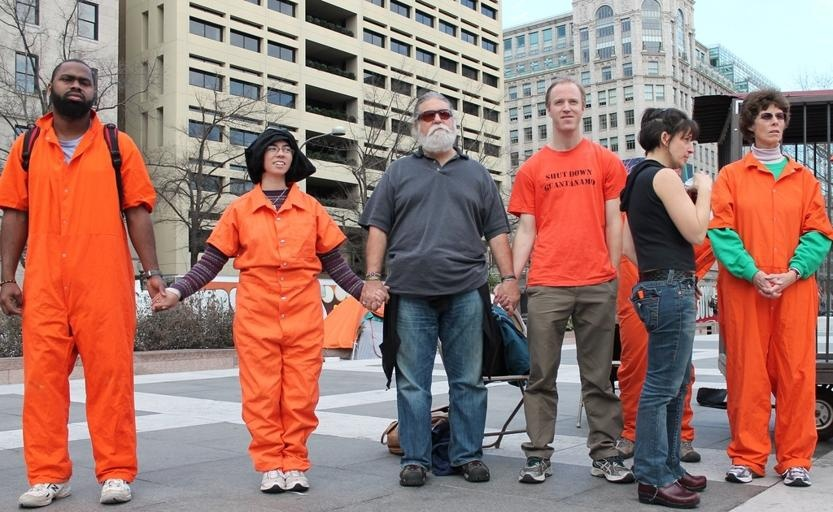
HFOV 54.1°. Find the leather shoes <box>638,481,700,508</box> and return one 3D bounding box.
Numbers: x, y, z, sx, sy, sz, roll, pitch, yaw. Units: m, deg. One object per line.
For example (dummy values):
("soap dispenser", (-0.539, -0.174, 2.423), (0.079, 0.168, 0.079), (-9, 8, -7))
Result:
("leather shoes", (1.952, 1.857, 6.334), (0.431, 0.151, 0.184), (-3, -1, 21))

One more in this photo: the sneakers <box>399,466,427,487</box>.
("sneakers", (-0.035, 1.848, 6.908), (0.212, 0.156, 0.289), (0, 0, 6))

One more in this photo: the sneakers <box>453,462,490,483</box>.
("sneakers", (0.487, 1.850, 6.991), (0.134, 0.128, 0.330), (3, -3, -18))

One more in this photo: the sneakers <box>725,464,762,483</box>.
("sneakers", (2.707, 1.829, 6.810), (0.123, 0.118, 0.295), (-3, 3, -40))

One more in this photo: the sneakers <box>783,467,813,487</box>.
("sneakers", (3.106, 1.805, 6.638), (0.120, 0.096, 0.264), (-1, -17, 11))

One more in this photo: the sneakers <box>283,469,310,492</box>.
("sneakers", (-0.994, 1.848, 6.705), (0.206, 0.156, 0.155), (0, 0, -8))

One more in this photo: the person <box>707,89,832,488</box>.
("person", (3.007, 0.205, 7.006), (0.976, 3.361, 0.685), (0, 0, 17))

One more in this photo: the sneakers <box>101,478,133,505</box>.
("sneakers", (-2.373, 1.859, 6.468), (0.262, 0.174, 0.218), (0, 0, -30))

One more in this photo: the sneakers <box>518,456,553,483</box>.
("sneakers", (1.015, 1.810, 6.937), (0.178, 0.197, 0.341), (0, 0, 39))

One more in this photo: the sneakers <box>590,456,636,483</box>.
("sneakers", (1.651, 1.822, 6.944), (0.347, 0.138, 0.172), (-6, -8, 44))

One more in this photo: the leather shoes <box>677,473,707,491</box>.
("leather shoes", (2.226, 1.844, 6.636), (0.255, 0.091, 0.117), (-5, 0, 14))

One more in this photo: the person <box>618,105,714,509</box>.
("person", (1.993, 0.352, 6.589), (0.644, 3.195, 0.585), (0, 0, 33))

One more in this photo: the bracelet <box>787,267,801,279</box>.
("bracelet", (3.192, 0.154, 6.889), (0.041, 0.079, 0.094), (-37, 33, -27))

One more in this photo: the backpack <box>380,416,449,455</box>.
("backpack", (-0.003, 1.616, 7.302), (0.521, 0.198, 0.615), (-1, -7, -4))

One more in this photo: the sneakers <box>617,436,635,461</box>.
("sneakers", (1.929, 1.782, 7.533), (0.128, 0.138, 0.359), (-3, -14, 23))

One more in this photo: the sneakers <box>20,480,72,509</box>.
("sneakers", (-2.931, 1.878, 6.426), (0.369, 0.170, 0.215), (0, 0, -26))

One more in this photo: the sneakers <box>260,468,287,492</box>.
("sneakers", (-1.170, 1.837, 6.653), (0.154, 0.109, 0.300), (2, -12, -8))

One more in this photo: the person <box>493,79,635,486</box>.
("person", (1.324, 0.189, 7.056), (0.994, 3.440, 0.499), (0, 0, 4))

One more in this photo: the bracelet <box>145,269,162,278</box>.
("bracelet", (-2.193, 0.153, 6.766), (0.125, 0.061, 0.114), (-6, -5, -18))
